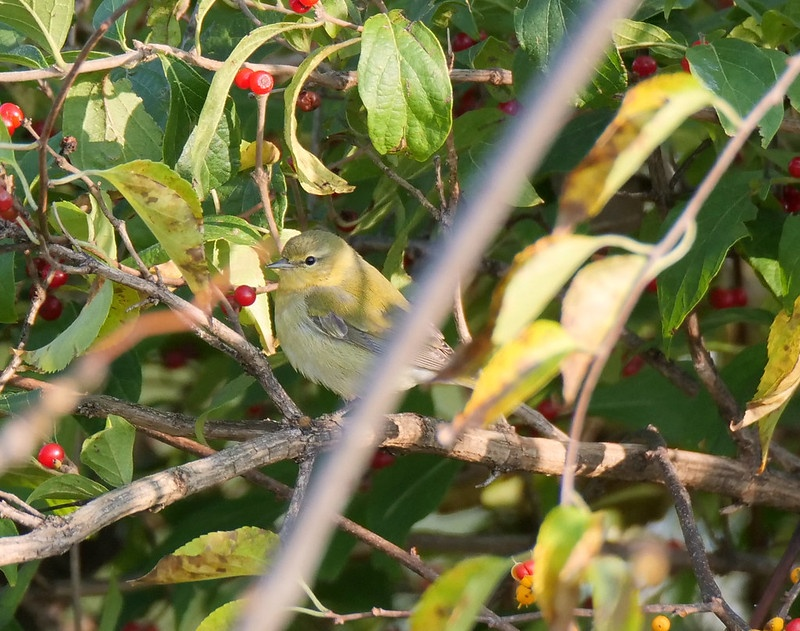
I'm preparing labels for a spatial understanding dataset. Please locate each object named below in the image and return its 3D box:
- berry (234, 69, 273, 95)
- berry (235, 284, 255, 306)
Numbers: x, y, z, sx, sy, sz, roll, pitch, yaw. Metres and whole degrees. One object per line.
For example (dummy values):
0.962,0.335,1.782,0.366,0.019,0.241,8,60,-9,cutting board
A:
-0.580,-0.963,4.107,0.155,0.093,0.077,21,42,39,berry
-0.652,-0.091,4.326,0.078,0.083,0.098,0,84,6,berry
